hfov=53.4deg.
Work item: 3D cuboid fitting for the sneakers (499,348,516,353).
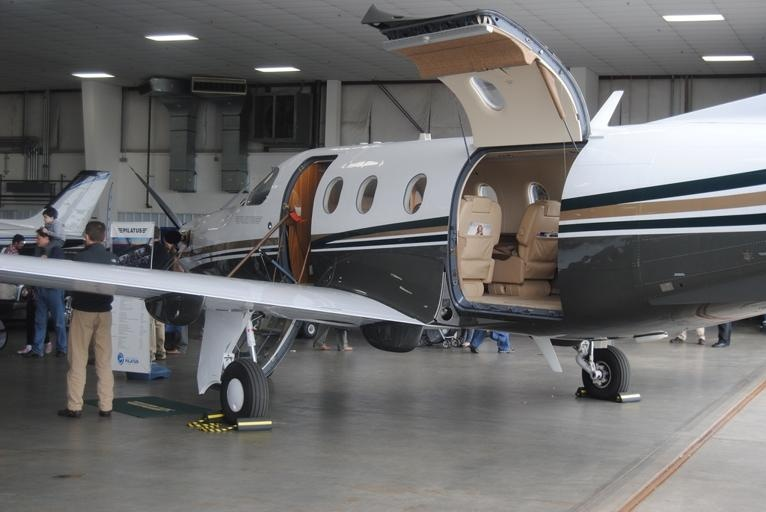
[{"bbox_3d":[2.311,1.763,14.183,0.274,0.109,0.084,-2,1,-6],"label":"sneakers"}]

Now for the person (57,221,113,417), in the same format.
[{"bbox_3d":[-3.425,0.822,9.210,0.630,2.488,0.762,2,2,37],"label":"person"}]
